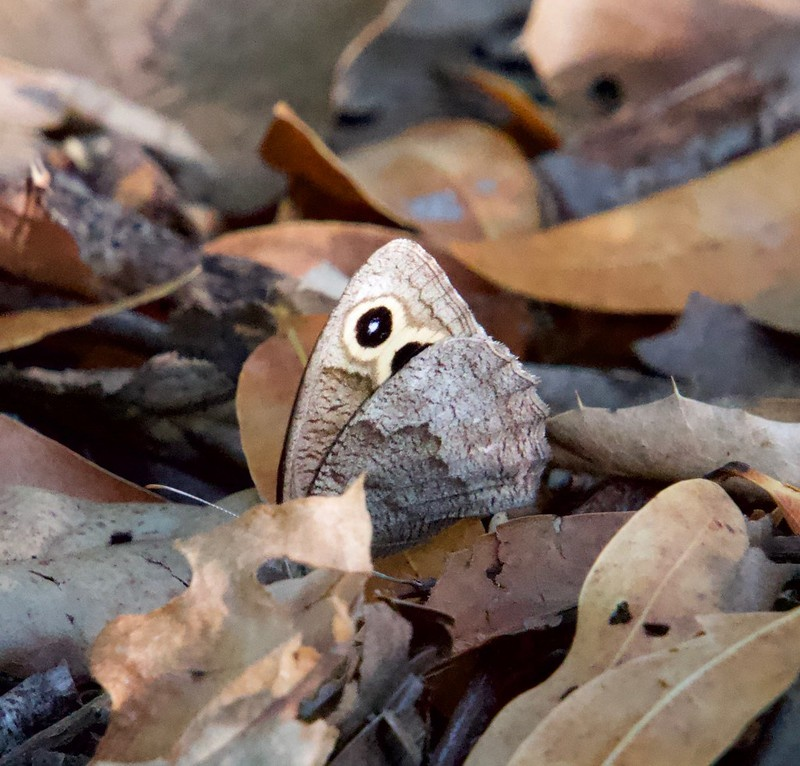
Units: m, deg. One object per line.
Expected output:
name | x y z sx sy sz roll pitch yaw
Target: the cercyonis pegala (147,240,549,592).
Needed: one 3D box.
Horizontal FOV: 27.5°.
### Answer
cercyonis pegala | 0.007 0.053 2.105 0.365 0.189 0.361 -44 75 -6
